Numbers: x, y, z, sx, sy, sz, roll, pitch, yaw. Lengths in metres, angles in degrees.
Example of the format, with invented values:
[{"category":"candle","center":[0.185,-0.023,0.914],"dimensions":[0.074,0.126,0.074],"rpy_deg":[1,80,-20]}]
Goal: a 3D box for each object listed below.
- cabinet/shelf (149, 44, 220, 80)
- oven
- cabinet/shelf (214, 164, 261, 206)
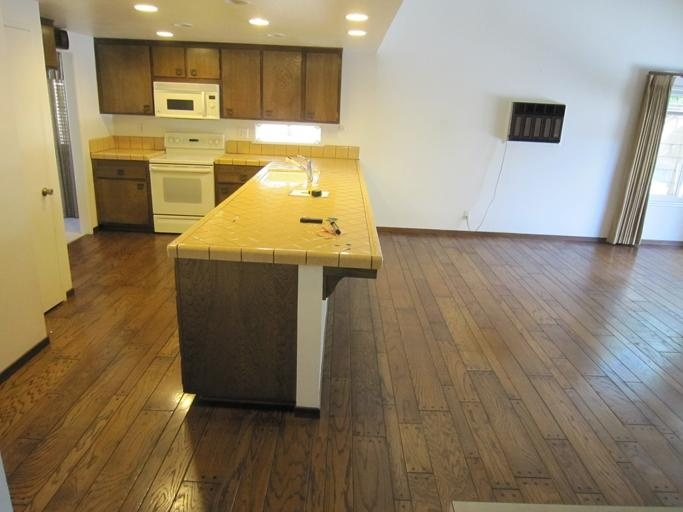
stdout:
[{"category":"cabinet/shelf","center":[-1.939,-2.403,6.306],"dimensions":[1.061,0.604,0.398],"rpy_deg":[4,15,6]},{"category":"oven","center":[-2.124,-0.911,6.553],"dimensions":[0.807,0.988,0.752],"rpy_deg":[-3,27,-20]},{"category":"cabinet/shelf","center":[-1.363,-1.026,6.436],"dimensions":[0.597,0.643,0.454],"rpy_deg":[-1,13,0]}]
